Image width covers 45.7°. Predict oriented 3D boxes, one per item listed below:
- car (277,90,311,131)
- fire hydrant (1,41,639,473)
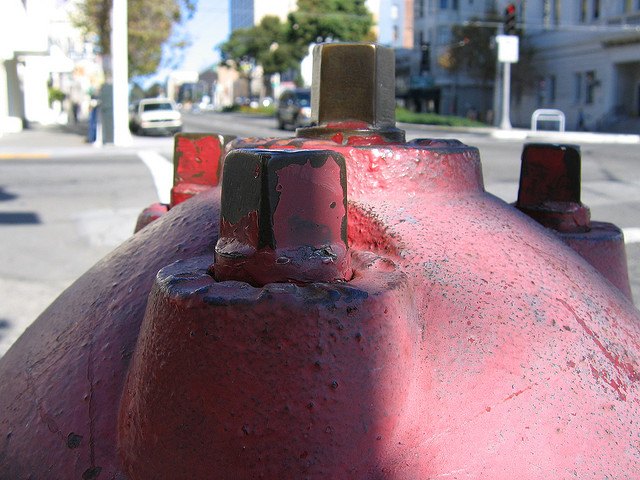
[{"bbox_3d":[-0.731,-4.432,26.170,1.007,1.484,2.555,-2,11,-28],"label":"car"},{"bbox_3d":[0.072,0.150,1.882,0.902,0.814,1.093,0,7,0],"label":"fire hydrant"}]
